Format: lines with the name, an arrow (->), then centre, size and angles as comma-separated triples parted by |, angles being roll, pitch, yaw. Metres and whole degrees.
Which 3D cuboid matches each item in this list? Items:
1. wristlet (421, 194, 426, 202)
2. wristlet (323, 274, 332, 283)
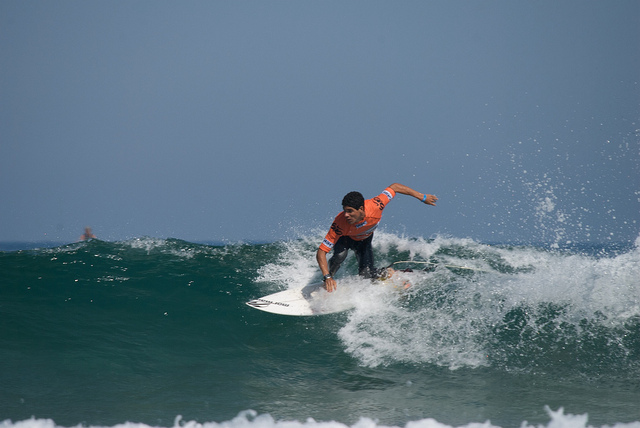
wristlet -> 2.095, -0.322, 15.196 | 0.044, 0.107, 0.088 | 6, -4, 38
wristlet -> 0.165, 1.239, 14.638 | 0.136, 0.159, 0.386 | -2, -12, 0
